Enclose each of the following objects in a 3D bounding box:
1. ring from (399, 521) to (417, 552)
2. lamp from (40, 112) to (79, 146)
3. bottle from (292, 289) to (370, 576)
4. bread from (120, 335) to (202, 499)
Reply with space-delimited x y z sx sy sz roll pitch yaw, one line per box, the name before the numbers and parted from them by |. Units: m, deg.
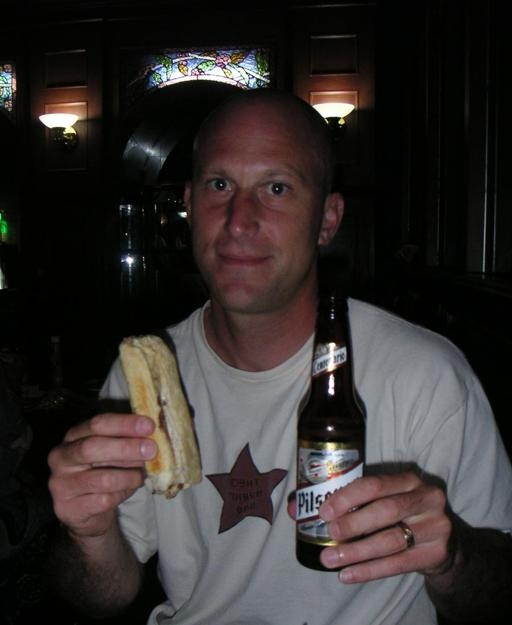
ring | 0.286 0.424 1.065 0.016 0.048 0.047 -21 32 -7
lamp | -1.847 -1.742 5.387 0.342 0.293 0.317 1 2 5
bottle | 0.146 0.232 1.141 0.146 0.531 0.330 -1 7 9
bread | -0.208 0.224 1.360 0.183 0.397 0.126 -12 1 11
